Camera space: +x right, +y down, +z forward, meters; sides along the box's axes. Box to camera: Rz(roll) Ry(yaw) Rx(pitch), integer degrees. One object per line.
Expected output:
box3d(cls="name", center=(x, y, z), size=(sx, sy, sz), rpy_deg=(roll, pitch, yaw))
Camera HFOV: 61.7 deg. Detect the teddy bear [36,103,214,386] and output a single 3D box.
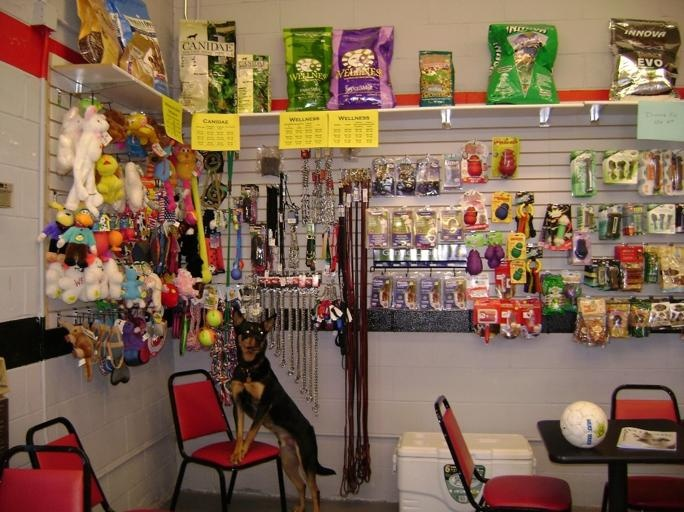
box3d(cls="teddy bear", center=(-1.468, -0.067, 3.935), size=(0.376, 1.802, 1.180), rpy_deg=(-1, 4, 24))
